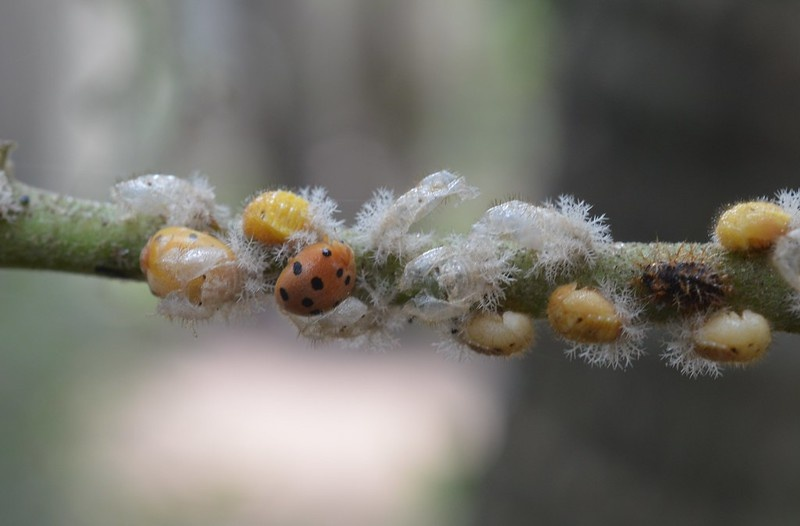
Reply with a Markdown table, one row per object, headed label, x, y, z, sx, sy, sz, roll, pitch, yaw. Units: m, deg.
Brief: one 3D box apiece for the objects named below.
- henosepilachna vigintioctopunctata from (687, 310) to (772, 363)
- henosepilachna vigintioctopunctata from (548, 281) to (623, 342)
| label | x | y | z | sx | sy | sz | roll | pitch | yaw |
| --- | --- | --- | --- | --- | --- | --- | --- | --- | --- |
| henosepilachna vigintioctopunctata | 1.274 | 0.290 | 3.221 | 0.235 | 0.196 | 0.145 | -7 | 13 | 6 |
| henosepilachna vigintioctopunctata | 0.718 | 0.203 | 3.243 | 0.293 | 0.193 | 0.136 | 8 | 25 | 8 |
